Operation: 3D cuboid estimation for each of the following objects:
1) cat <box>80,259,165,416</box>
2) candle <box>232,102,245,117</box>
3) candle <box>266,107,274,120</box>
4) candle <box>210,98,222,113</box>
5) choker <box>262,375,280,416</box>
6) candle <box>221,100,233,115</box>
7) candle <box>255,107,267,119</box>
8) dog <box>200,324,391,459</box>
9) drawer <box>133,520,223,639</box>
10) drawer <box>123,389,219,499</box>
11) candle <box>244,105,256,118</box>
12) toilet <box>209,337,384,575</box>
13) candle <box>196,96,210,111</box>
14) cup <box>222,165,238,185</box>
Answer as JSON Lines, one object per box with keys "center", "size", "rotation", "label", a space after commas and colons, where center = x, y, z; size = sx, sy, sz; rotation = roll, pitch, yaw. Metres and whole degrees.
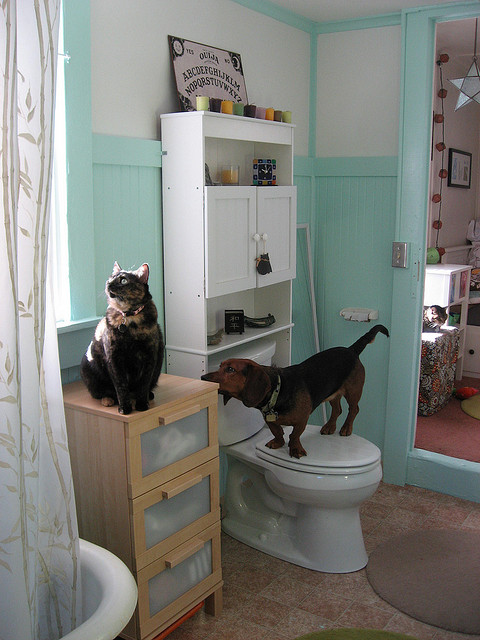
{"center": [-0.303, 0.035, 1.432], "size": [0.217, 0.390, 0.221], "rotation": [-9, 11, -43], "label": "cat"}
{"center": [-0.010, -0.841, 2.060], "size": [0.053, 0.084, 0.053], "rotation": [-1, 24, -2], "label": "candle"}
{"center": [0.127, -0.877, 2.195], "size": [0.021, 0.055, 0.073], "rotation": [2, 9, 19], "label": "candle"}
{"center": [-0.091, -0.794, 1.904], "size": [0.046, 0.056, 0.048], "rotation": [-1, 5, -11], "label": "candle"}
{"center": [0.113, 0.278, 1.845], "size": [0.027, 0.110, 0.078], "rotation": [2, 11, 12], "label": "choker"}
{"center": [-0.051, -0.812, 1.966], "size": [0.011, 0.047, 0.063], "rotation": [5, 10, 35], "label": "candle"}
{"center": [0.086, -0.861, 2.147], "size": [0.043, 0.052, 0.044], "rotation": [20, 28, 40], "label": "candle"}
{"center": [0.309, 0.280, 2.073], "size": [0.878, 0.423, 0.241], "rotation": [-11, 11, -29], "label": "dog"}
{"center": [-0.190, 0.781, 1.564], "size": [0.178, 0.228, 0.310], "rotation": [7, 18, 29], "label": "drawer"}
{"center": [-0.242, 0.348, 1.545], "size": [0.193, 0.251, 0.369], "rotation": [4, 8, 36], "label": "drawer"}
{"center": [0.044, -0.849, 2.099], "size": [0.065, 0.049, 0.023], "rotation": [-8, 11, -40], "label": "candle"}
{"center": [0.234, 0.557, 2.149], "size": [0.672, 0.788, 0.451], "rotation": [6, 8, 31], "label": "toilet"}
{"center": [-0.134, -0.780, 1.856], "size": [0.044, 0.047, 0.038], "rotation": [0, 6, -3], "label": "candle"}
{"center": [-0.033, -0.604, 2.128], "size": [0.069, 0.085, 0.073], "rotation": [0, 20, 0], "label": "cup"}
